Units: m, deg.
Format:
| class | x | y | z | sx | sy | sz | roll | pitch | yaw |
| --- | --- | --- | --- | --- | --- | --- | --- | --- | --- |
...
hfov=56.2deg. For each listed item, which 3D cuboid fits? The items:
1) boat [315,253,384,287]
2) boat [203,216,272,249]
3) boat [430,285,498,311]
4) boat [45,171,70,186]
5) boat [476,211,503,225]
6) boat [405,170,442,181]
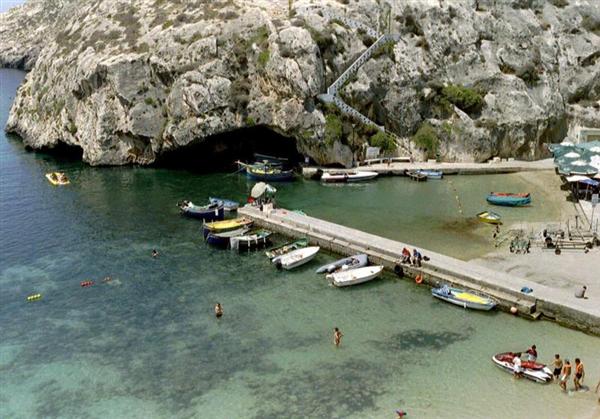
| class | x | y | z | sx | sy | sz | roll | pitch | yaw |
| --- | --- | --- | --- | --- | --- | --- | --- | --- | --- |
| boat | 6.792 | 8.195 | 74.934 | 6.822 | 2.219 | 4.653 | -9 | 19 | -16 |
| boat | -9.787 | 4.872 | 84.221 | 6.368 | 5.650 | 10.121 | 9 | 11 | 41 |
| boat | 20.049 | 10.734 | 69.453 | 7.965 | 1.972 | 3.598 | 12 | 21 | 35 |
| boat | -46.930 | -5.953 | 108.247 | 3.405 | 1.560 | 4.833 | -6 | 29 | -36 |
| boat | 28.639 | 1.261 | 85.223 | 2.014 | 1.036 | 2.631 | -21 | 33 | -32 |
| boat | 23.081 | -6.443 | 105.640 | 6.409 | 1.592 | 2.333 | 3 | 19 | 19 |
